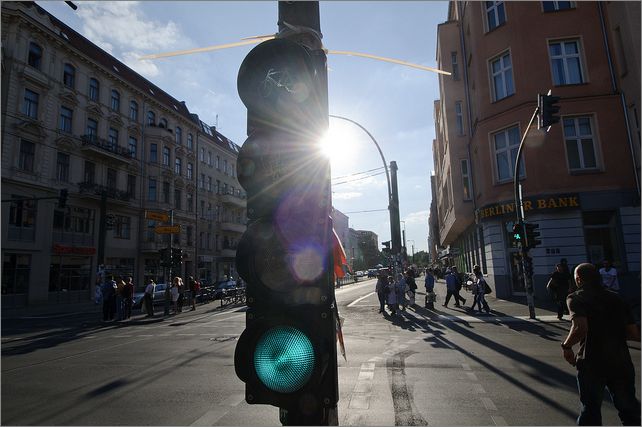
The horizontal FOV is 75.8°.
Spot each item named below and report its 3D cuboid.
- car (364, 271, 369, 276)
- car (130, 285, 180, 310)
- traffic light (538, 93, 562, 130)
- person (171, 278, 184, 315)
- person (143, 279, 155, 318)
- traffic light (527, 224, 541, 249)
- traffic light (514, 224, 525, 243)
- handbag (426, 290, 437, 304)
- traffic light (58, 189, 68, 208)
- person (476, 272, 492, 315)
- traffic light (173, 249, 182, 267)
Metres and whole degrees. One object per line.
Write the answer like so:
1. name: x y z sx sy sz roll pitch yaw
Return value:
1. car: 10.626 14.235 96.313 0.856 0.836 4.270 -6 -11 7
2. car: -11.349 5.627 27.733 1.399 1.223 2.455 -10 -17 30
3. traffic light: 8.509 -3.935 15.510 0.740 1.342 0.620 -3 -9 -6
4. person: -8.123 4.706 23.496 0.692 2.023 0.991 0 -10 -22
5. person: -9.299 4.670 22.443 0.434 1.952 0.990 0 -10 -24
6. traffic light: 8.872 0.935 17.309 0.494 1.029 0.786 -10 -11 33
7. traffic light: 8.317 0.838 17.355 0.453 0.734 0.272 -11 -11 37
8. handbag: 5.711 4.414 21.448 0.394 0.560 0.389 -4 -9 -1
9. traffic light: -14.085 -0.961 22.680 0.339 0.988 0.925 3 -12 -37
10. person: 7.492 3.668 19.124 0.613 1.953 1.084 -8 -10 23
11. traffic light: -7.974 2.492 22.942 0.408 0.931 0.505 -2 -9 -11
